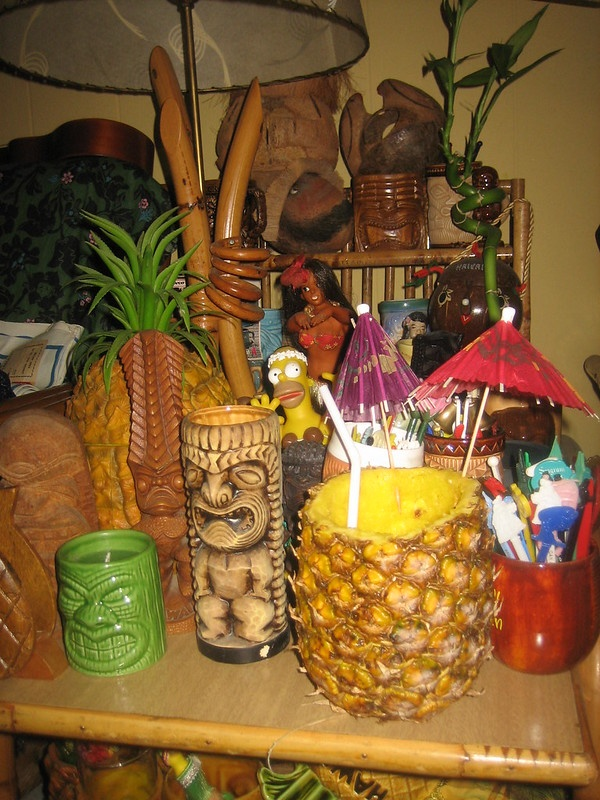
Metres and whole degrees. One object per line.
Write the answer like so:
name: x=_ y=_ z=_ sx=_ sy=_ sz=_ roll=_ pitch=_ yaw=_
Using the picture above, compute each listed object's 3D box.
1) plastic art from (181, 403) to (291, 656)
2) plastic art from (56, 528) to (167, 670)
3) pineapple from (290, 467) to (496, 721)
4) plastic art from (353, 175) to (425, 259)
plastic art: x=-0.068 y=0.156 z=0.702 sx=0.104 sy=0.273 sz=0.055 roll=-5 pitch=13 yaw=-11
plastic art: x=-0.179 y=0.216 z=0.752 sx=0.133 sy=0.139 sz=0.147 roll=-3 pitch=6 yaw=2
pineapple: x=0.088 y=0.189 z=0.677 sx=0.229 sy=0.224 sz=0.224 roll=-3 pitch=13 yaw=4
plastic art: x=0.192 y=-0.401 z=1.402 sx=0.189 sy=0.173 sz=0.106 roll=-1 pitch=21 yaw=3
